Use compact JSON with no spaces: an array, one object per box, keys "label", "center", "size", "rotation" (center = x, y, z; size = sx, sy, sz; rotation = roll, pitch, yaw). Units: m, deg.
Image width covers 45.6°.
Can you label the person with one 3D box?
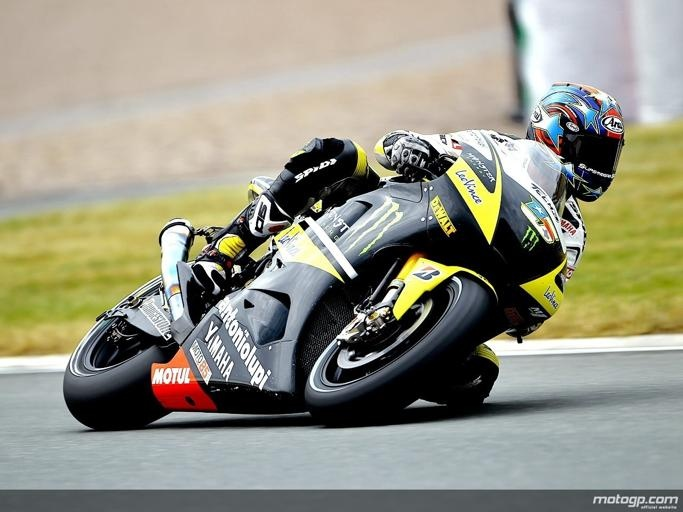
[{"label":"person","center":[0.109,-0.099,3.278],"size":[1.914,0.703,0.976],"rotation":[14,60,46]}]

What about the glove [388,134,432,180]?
[{"label":"glove","center":[0.283,-0.389,3.310],"size":[0.193,0.158,0.157],"rotation":[-8,-32,13]}]

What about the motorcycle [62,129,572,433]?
[{"label":"motorcycle","center":[-0.152,0.140,3.400],"size":[2.004,0.988,0.879],"rotation":[-7,4,30]}]
